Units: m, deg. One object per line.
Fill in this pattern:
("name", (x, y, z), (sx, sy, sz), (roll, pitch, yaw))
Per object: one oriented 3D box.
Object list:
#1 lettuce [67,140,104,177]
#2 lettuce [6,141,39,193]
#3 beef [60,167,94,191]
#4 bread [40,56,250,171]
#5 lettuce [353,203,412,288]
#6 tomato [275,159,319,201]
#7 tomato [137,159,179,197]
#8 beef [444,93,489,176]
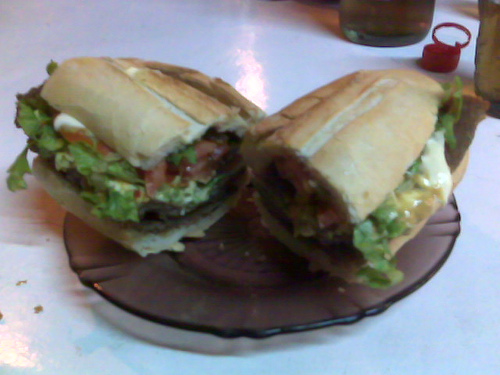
("lettuce", (-0.724, -0.136, 2.076), (0.090, 0.177, 0.113), (11, 24, 23))
("lettuce", (-1.088, -0.112, 2.266), (0.103, 0.053, 0.273), (-2, 49, 11))
("beef", (-0.817, -0.033, 2.237), (0.153, 0.093, 0.036), (34, 71, 17))
("bread", (-0.480, -0.395, 2.309), (0.689, 0.541, 0.788), (9, 22, 32))
("lettuce", (0.493, 0.220, 1.809), (0.204, 0.211, 0.253), (11, 51, 10))
("tomato", (0.190, -0.056, 1.965), (0.051, 0.156, 0.155), (-37, 85, -13))
("tomato", (-0.414, -0.047, 2.199), (0.115, 0.148, 0.199), (-16, 27, -37))
("beef", (0.979, -0.252, 2.141), (0.104, 0.252, 0.427), (3, 54, 43))
